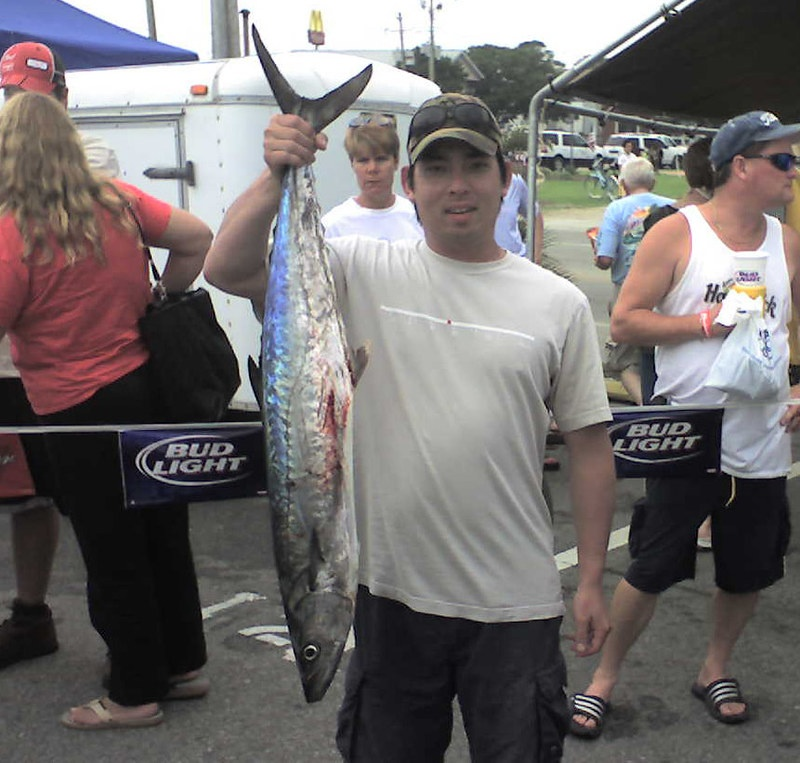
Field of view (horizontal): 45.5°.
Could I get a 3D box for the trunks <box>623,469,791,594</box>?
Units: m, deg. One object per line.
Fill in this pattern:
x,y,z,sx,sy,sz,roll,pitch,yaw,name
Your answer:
1.056,0.507,3.281,0.657,0.595,0.236,0,14,6,trunks

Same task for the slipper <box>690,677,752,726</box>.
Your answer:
1.158,1.138,3.434,0.206,0.109,0.179,5,16,20,slipper

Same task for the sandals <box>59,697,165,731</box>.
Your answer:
-1.010,1.167,3.375,0.343,0.131,0.129,4,-6,0,sandals

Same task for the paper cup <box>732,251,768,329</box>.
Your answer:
1.113,-0.305,3.073,0.155,0.212,0.147,1,0,0,paper cup

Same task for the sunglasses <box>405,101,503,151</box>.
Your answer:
0.118,-0.589,2.136,0.138,0.087,0.145,-1,-1,6,sunglasses

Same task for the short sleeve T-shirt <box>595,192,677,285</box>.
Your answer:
1.739,-1.068,6.966,0.654,0.636,0.351,-12,22,-22,short sleeve T-shirt

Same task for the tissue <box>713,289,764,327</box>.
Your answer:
1.080,-0.248,3.038,0.121,0.117,0.037,22,20,-3,tissue
